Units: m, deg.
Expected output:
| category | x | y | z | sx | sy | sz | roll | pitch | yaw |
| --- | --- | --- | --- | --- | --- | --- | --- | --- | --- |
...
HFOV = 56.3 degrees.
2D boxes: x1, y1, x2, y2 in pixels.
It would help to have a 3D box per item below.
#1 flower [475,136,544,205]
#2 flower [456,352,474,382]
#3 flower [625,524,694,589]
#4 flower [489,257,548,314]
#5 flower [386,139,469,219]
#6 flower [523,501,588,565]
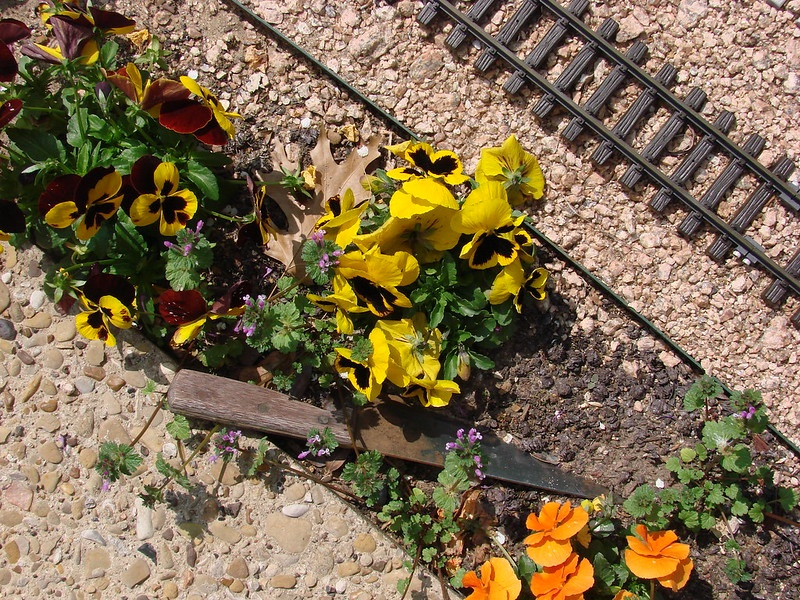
| category | x | y | z | sx | sy | sz | roll | pitch | yaw |
| --- | --- | --- | --- | --- | --- | --- | --- | --- | --- |
| flower | 0.711 | -0.804 | 4.828 | 0.219 | 0.502 | 0.497 | -34 | 80 | -1 |
| flower | 0.420 | 0.428 | 4.840 | 0.094 | 0.180 | 0.084 | -3 | 6 | -34 |
| flower | 1.577 | 1.588 | 4.612 | 0.379 | 0.165 | 0.408 | -1 | 44 | 5 |
| flower | 0.751 | -0.183 | 4.699 | 0.307 | 0.328 | 0.126 | 29 | 71 | 9 |
| flower | 0.178 | -0.743 | 4.634 | 0.479 | 0.172 | 0.522 | -4 | 61 | -19 |
| flower | 0.910 | 1.423 | 4.609 | 0.376 | 0.145 | 0.448 | 10 | 20 | 21 |
